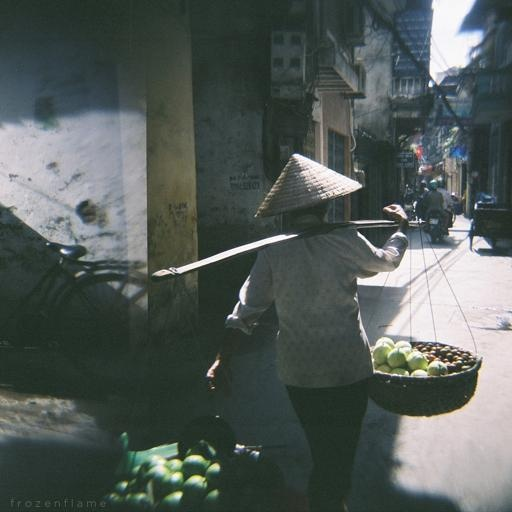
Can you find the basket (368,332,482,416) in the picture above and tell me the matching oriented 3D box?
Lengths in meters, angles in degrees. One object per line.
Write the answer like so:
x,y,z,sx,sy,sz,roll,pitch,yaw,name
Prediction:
0.988,0.747,4.488,0.636,0.524,0.493,-7,17,-36,basket
